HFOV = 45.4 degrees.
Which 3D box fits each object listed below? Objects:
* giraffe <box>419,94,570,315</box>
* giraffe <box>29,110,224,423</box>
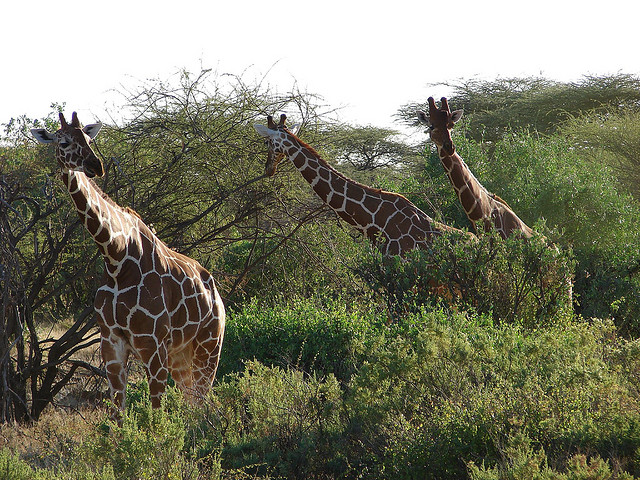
[{"bbox_3d":[2.815,-0.404,11.935,1.617,3.665,2.219,-14,-18,17],"label":"giraffe"},{"bbox_3d":[-2.229,0.450,9.672,0.875,3.738,2.620,-18,-19,29],"label":"giraffe"}]
